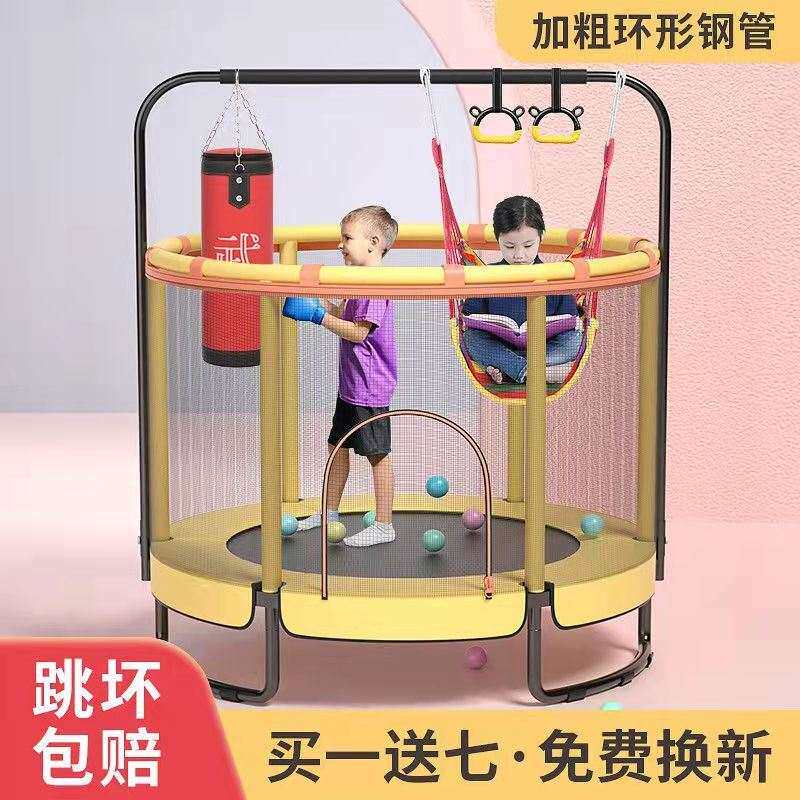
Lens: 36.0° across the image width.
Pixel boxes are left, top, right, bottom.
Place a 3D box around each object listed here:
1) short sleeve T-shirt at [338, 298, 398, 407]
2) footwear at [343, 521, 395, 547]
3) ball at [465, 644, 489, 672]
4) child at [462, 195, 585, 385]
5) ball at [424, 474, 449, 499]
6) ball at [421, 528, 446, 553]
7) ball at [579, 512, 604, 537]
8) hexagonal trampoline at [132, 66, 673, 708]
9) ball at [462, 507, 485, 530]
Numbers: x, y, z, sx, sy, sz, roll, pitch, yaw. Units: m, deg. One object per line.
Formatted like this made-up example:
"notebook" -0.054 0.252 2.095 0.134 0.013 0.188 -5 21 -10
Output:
"short sleeve T-shirt" -0.073 -0.114 2.803 0.118 0.249 0.209 -2 8 -13
"footwear" -0.073 0.325 3.017 0.144 0.070 0.050 -5 2 -14
"ball" 0.178 0.624 2.952 0.052 0.058 0.054 5 4 0
"child" 0.277 -0.252 2.809 0.286 0.389 0.265 4 16 19
"ball" 0.103 0.248 3.477 0.059 0.062 0.058 5 0 0
"ball" 0.078 0.343 2.974 0.049 0.055 0.049 1 -4 0
"ball" 0.480 0.321 3.107 0.049 0.059 0.050 3 -9 0
"hexagonal trampoline" 0.010 -0.075 3.005 1.252 1.424 1.245 1 5 5
"ball" 0.187 0.313 3.228 0.048 0.057 0.050 2 5 0
